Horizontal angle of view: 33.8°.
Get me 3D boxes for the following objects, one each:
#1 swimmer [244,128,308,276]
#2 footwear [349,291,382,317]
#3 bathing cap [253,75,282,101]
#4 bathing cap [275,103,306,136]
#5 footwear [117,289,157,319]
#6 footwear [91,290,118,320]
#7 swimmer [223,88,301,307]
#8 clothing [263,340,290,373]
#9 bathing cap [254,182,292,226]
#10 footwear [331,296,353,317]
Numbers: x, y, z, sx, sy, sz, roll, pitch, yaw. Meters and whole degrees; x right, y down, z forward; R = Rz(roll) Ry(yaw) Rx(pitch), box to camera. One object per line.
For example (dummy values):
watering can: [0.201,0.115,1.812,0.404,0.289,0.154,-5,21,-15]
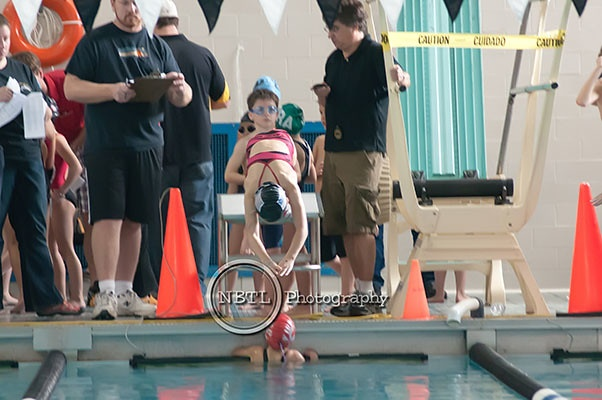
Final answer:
swimmer: [-0.196,0.014,7.823,0.469,1.096,0.382,2,-1,-2]
footwear: [0.563,0.827,8.054,0.403,0.167,0.132,-15,-9,39]
bathing cap: [-0.283,-0.919,8.103,0.181,0.169,0.259,1,2,-1]
bathing cap: [-0.143,-0.687,8.919,0.340,0.331,0.281,2,-9,7]
footwear: [-1.389,0.822,8.011,0.435,0.190,0.147,4,1,-41]
footwear: [-1.564,0.824,7.829,0.189,0.219,0.110,-1,-9,-1]
swimmer: [-0.252,-0.136,8.005,0.647,1.402,0.533,2,-3,-2]
clothing: [-0.182,1.195,7.604,0.202,0.208,0.073,0,-4,3]
bathing cap: [-0.221,0.006,7.789,0.279,0.303,0.190,-1,-9,-1]
footwear: [0.331,0.857,8.027,0.140,0.161,0.198,1,-9,-13]
